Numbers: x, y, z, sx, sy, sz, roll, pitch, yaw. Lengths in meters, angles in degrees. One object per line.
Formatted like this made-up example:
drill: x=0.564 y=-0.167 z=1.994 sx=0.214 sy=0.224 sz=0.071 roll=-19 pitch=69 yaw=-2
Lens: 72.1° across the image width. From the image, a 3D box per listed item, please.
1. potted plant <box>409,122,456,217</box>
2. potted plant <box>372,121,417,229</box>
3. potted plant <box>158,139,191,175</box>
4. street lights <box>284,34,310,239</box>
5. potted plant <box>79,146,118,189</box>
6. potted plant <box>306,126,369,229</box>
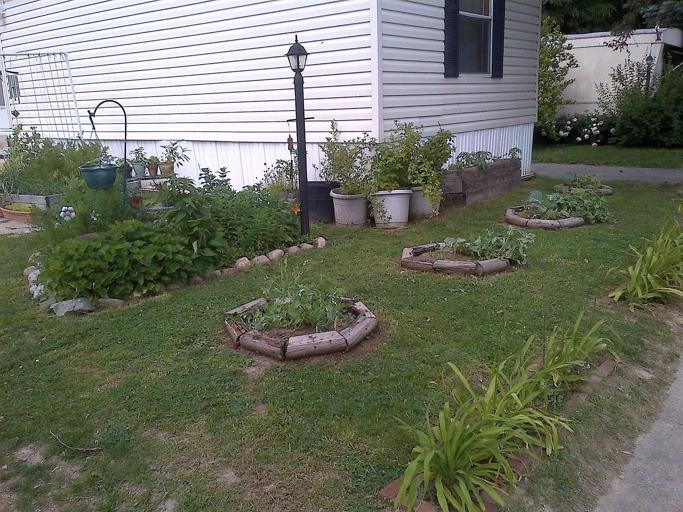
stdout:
potted plant: x=1.201 y=-1.286 z=7.092 sx=0.922 sy=1.262 sz=0.768 roll=-2 pitch=17 yaw=-3
potted plant: x=0.743 y=-1.154 z=6.751 sx=0.745 sy=1.479 sz=0.531 roll=-8 pitch=14 yaw=-20
potted plant: x=-3.456 y=-1.901 z=9.328 sx=0.615 sy=0.774 sz=0.665 roll=1 pitch=2 yaw=11
street lights: x=-0.500 y=-1.508 z=6.104 sx=0.229 sy=2.492 sz=0.425 roll=-3 pitch=13 yaw=-3
potted plant: x=-3.064 y=-1.157 z=6.044 sx=0.467 sy=0.509 sz=0.468 roll=-8 pitch=11 yaw=-22
potted plant: x=-0.034 y=-1.219 z=6.996 sx=1.205 sy=1.513 sz=0.527 roll=10 pitch=18 yaw=42
